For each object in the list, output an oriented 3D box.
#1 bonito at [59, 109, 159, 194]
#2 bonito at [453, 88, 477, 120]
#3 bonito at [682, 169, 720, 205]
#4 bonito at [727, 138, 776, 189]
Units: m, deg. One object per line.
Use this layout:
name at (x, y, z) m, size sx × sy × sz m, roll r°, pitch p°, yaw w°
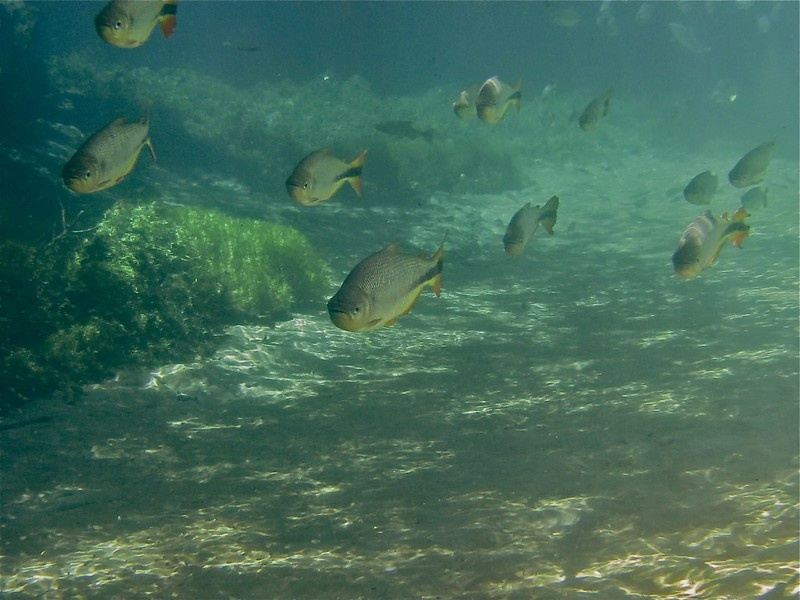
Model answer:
bonito at (-3.724, -1.905, 11.958) m, size 0.920 × 1.105 × 0.477 m, roll 11°, pitch -24°, yaw -16°
bonito at (1.145, -3.123, 14.798) m, size 0.290 × 0.402 × 0.456 m, roll -18°, pitch -43°, yaw -46°
bonito at (5.160, -1.981, 16.121) m, size 0.491 × 0.589 × 0.647 m, roll -1°, pitch -21°, yaw 13°
bonito at (5.882, -2.347, 15.735) m, size 0.688 × 0.842 × 0.758 m, roll -2°, pitch -22°, yaw 16°
